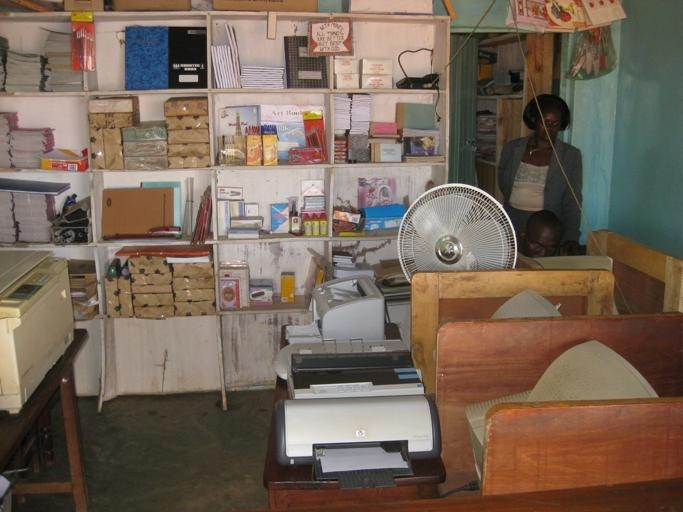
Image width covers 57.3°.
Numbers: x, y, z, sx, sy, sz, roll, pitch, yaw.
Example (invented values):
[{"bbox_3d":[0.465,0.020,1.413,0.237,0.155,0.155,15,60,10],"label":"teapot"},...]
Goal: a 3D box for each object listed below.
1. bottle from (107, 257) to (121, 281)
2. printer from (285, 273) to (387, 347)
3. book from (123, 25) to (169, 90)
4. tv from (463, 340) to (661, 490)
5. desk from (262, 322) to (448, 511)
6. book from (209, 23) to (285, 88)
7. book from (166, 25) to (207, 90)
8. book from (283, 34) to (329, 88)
[{"bbox_3d":[-1.555,0.085,4.336,0.064,0.101,0.206,2,35,-5],"label":"bottle"},{"bbox_3d":[-0.046,0.307,3.225,0.501,0.273,0.367,-10,21,-16],"label":"printer"},{"bbox_3d":[-1.279,-1.308,4.114,0.302,0.408,0.117,-1,14,8],"label":"book"},{"bbox_3d":[0.685,0.478,2.376,0.688,0.674,0.489,1,11,3],"label":"tv"},{"bbox_3d":[-0.012,0.770,2.701,0.569,0.467,0.924,-1,26,-2],"label":"desk"},{"bbox_3d":[-0.629,-1.314,4.129,0.460,0.422,0.098,-5,14,-9],"label":"book"},{"bbox_3d":[-1.019,-1.314,4.147,0.285,0.388,0.092,-1,4,-3],"label":"book"},{"bbox_3d":[-0.235,-1.309,4.211,0.286,0.353,0.121,-4,13,-1],"label":"book"}]
